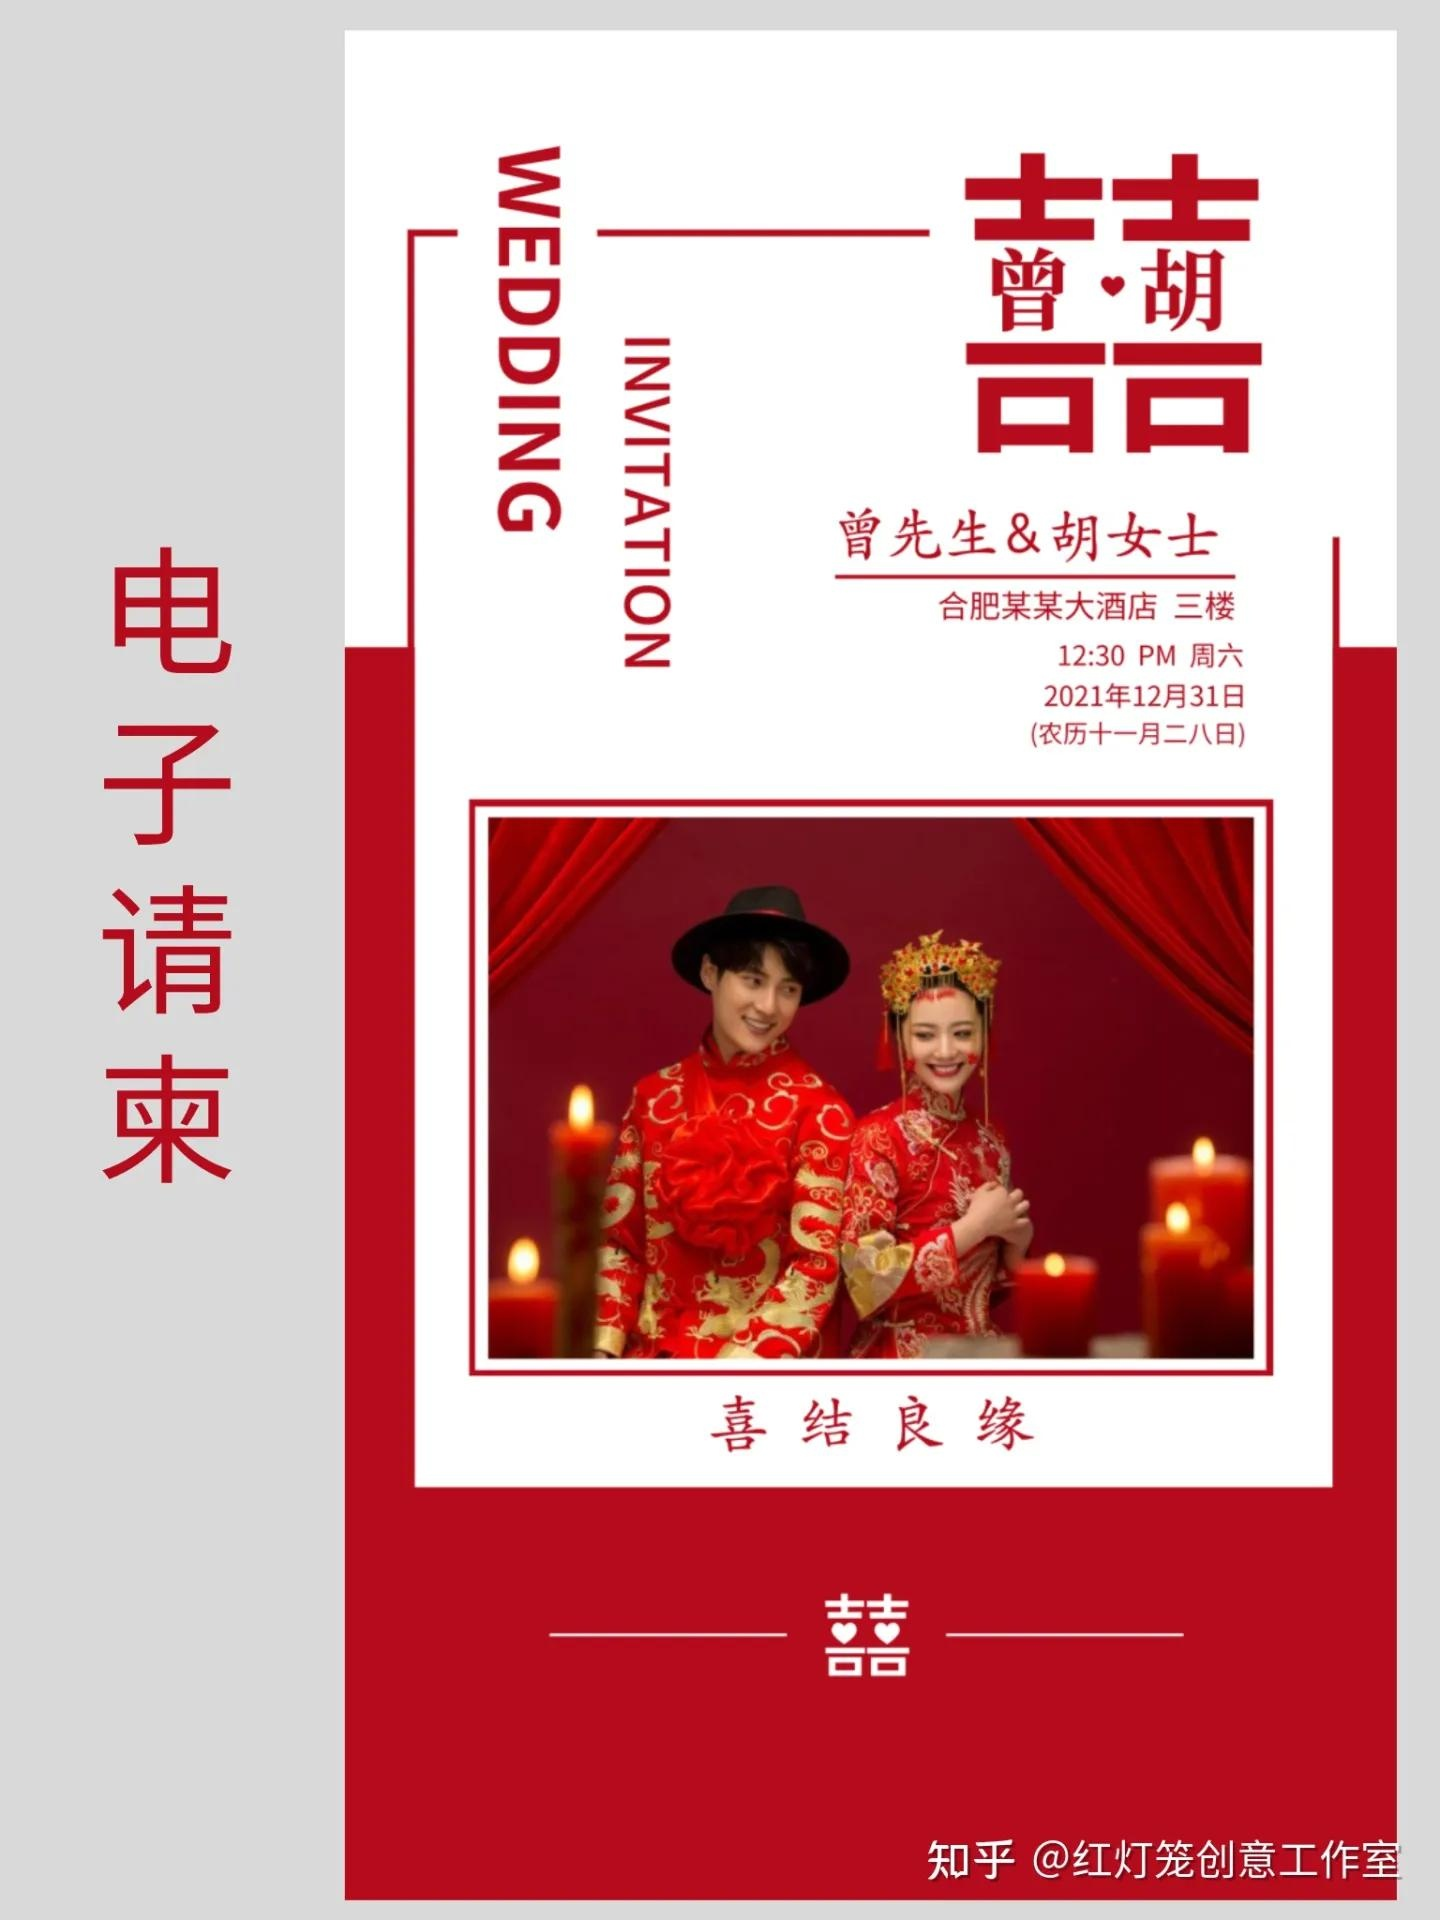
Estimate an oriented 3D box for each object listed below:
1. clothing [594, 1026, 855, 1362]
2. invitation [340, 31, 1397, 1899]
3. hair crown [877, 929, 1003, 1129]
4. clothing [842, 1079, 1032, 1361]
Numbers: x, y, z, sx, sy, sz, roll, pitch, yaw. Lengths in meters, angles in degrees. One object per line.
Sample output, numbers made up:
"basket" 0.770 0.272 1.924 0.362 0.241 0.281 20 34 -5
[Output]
"clothing" 0.021 0.381 3.722 0.379 0.482 0.093 -9 16 -19
"invitation" 0.217 0.022 3.661 1.650 2.948 0.681 -1 -3 -9
"hair crown" 0.346 0.120 3.832 0.156 0.310 0.219 -12 18 -34
"clothing" 0.364 0.471 3.859 0.265 0.466 0.428 4 -1 44
